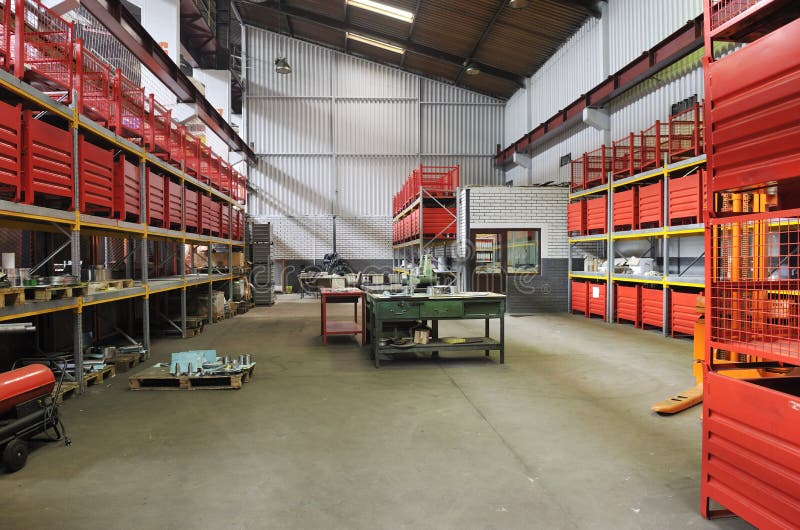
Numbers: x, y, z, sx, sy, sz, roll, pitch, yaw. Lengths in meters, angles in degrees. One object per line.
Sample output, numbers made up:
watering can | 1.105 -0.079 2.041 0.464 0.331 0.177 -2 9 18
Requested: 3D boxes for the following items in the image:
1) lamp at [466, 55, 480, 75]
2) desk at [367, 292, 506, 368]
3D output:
lamp | 2.950 -8.072 24.089 0.553 0.552 0.522 1 -5 -6
desk | 0.651 1.126 11.599 1.976 0.878 1.846 0 -1 -3
